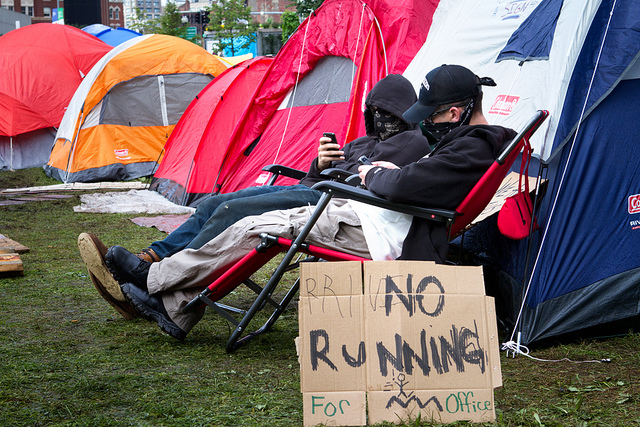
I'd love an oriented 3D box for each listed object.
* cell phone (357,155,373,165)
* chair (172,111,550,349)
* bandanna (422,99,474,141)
[{"bbox_3d":[0.330,-0.386,3.894,0.082,0.078,0.142,-28,16,-6],"label":"cell phone"},{"bbox_3d":[0.060,0.261,3.887,2.464,1.615,1.385,6,-1,-6],"label":"chair"},{"bbox_3d":[0.860,-0.590,3.714,0.357,0.227,0.300,15,-3,1],"label":"bandanna"}]
